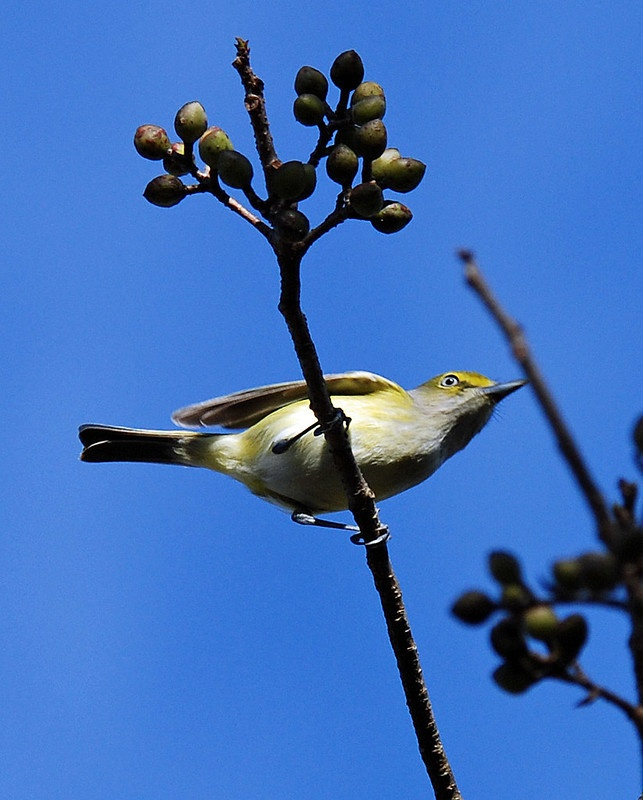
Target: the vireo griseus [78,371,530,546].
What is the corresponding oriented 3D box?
[{"bbox_3d":[-0.061,0.103,3.992,1.206,0.454,0.330,1,-33,4],"label":"vireo griseus"}]
